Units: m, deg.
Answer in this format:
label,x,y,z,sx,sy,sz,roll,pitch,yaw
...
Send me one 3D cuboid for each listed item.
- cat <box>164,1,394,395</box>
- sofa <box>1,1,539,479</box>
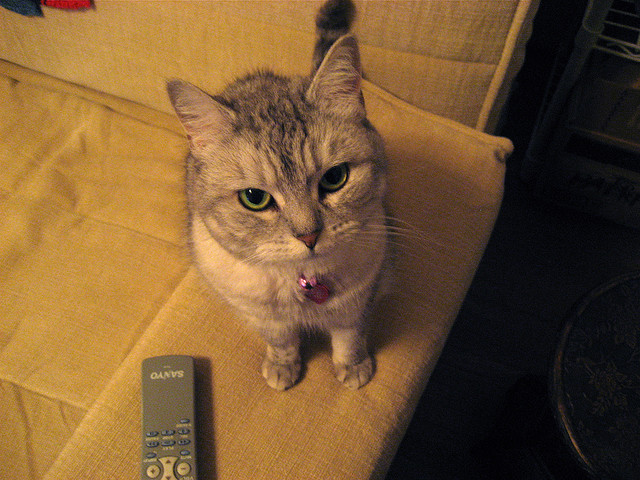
label,x,y,z,sx,sy,sz,roll,pitch,yaw
cat,-0.024,-0.040,0.975,0.437,0.528,0.458,-27,50,-14
sofa,-0.124,-0.022,1.517,1.145,0.806,1.170,6,95,10
